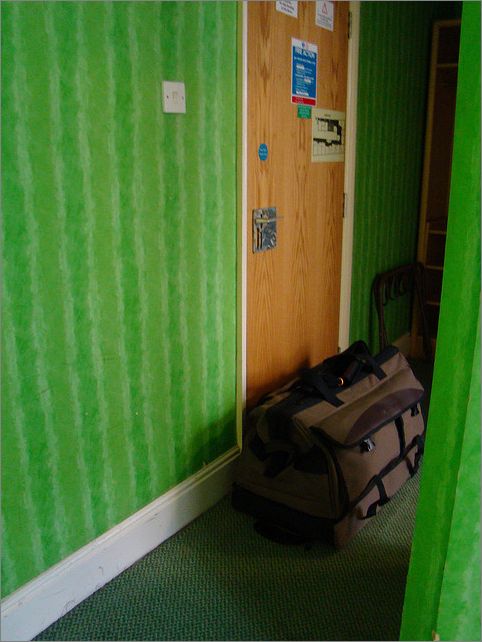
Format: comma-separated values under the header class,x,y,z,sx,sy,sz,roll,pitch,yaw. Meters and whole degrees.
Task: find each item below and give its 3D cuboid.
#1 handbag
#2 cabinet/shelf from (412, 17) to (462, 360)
class,x,y,z,sx,sy,sz,roll,pitch,yaw
handbag,0.456,0.432,2.053,0.746,0.615,0.453,-20,9,-38
cabinet/shelf,1.277,-0.804,3.415,0.207,2.100,0.595,3,9,21
